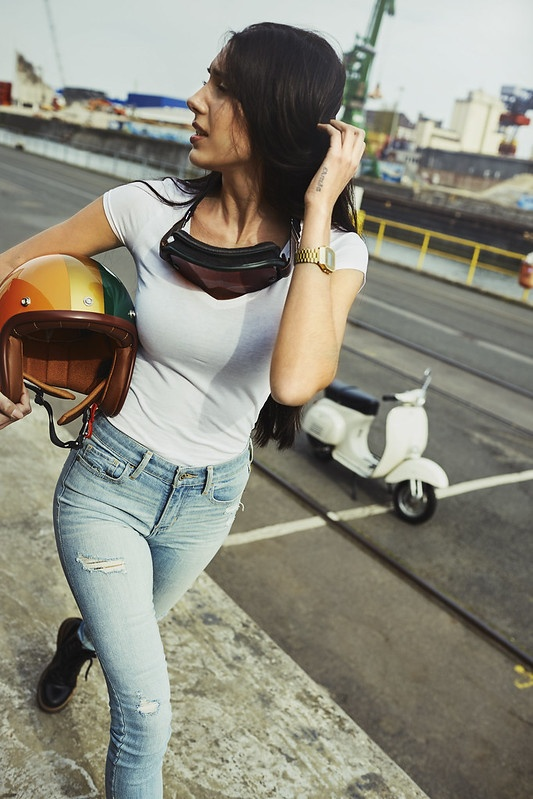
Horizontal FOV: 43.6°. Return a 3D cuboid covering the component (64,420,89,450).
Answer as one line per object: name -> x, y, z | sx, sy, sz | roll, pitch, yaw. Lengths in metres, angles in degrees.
component -> -0.404, 0.078, 1.443 | 0.052, 0.067, 0.024 | 11, 2, 41

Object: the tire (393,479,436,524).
tire -> 0.883, 0.596, 3.919 | 0.276, 0.283, 0.090 | 7, 7, 39

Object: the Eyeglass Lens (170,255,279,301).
Eyeglass Lens -> -0.083, -0.229, 1.278 | 0.123, 0.042, 0.115 | 15, 35, 8

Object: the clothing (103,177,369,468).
clothing -> -0.101, -0.147, 1.605 | 0.610, 0.557, 0.233 | 11, -2, 9

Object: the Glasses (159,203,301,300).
Glasses -> -0.075, -0.301, 1.354 | 0.262, 0.186, 0.230 | 16, 12, -2

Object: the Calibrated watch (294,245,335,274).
Calibrated watch -> 0.090, -0.270, 1.278 | 0.072, 0.042, 0.069 | -1, -2, 5
